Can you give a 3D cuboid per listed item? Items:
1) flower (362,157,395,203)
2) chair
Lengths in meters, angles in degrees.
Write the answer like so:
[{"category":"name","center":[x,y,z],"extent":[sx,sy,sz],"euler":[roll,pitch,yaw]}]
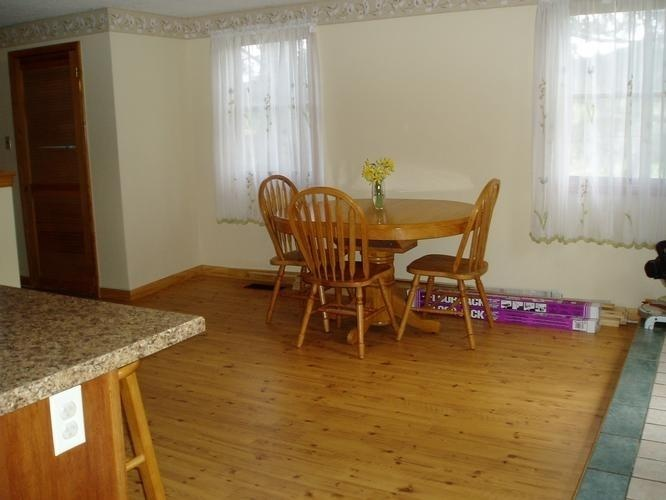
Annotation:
[{"category":"flower","center":[0.365,-0.530,3.895],"extent":[0.281,0.351,0.272],"euler":[3,12,30]},{"category":"chair","center":[0.412,0.062,3.712],"extent":[1.479,1.081,1.211],"euler":[1,8,12]}]
